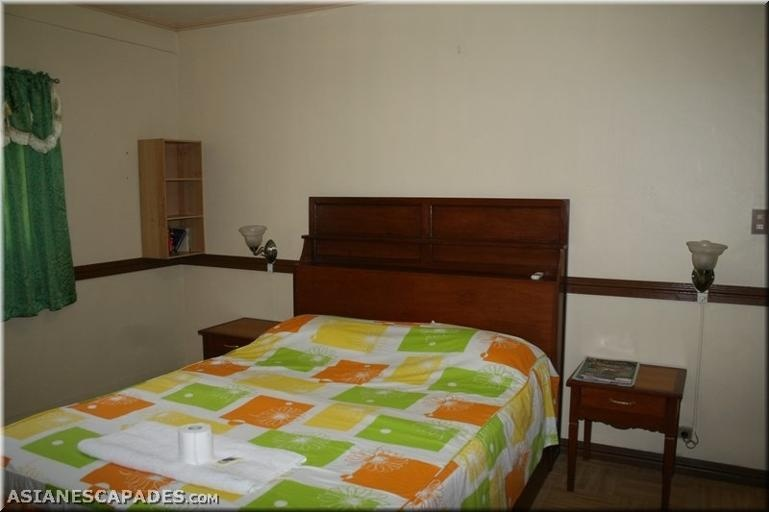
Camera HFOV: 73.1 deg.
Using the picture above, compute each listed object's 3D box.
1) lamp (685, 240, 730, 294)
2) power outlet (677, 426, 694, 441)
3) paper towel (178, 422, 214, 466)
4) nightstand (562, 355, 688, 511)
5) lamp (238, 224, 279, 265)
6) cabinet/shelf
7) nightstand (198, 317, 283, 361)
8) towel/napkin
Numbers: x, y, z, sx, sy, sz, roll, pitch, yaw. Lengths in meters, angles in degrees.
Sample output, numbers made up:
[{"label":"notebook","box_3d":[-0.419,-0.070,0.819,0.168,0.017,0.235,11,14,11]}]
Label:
[{"label":"lamp","box_3d":[2.053,0.082,3.358,0.215,0.352,0.148,4,14,15]},{"label":"power outlet","box_3d":[2.054,1.194,3.518,0.079,0.095,0.075,3,31,26]},{"label":"paper towel","box_3d":[-0.900,0.890,2.464,0.167,0.149,0.160,-2,3,-22]},{"label":"nightstand","box_3d":[1.494,1.196,3.669,0.890,1.011,0.791,2,4,25]},{"label":"lamp","box_3d":[-1.097,-0.055,4.398,0.228,0.331,0.298,-1,4,40]},{"label":"cabinet/shelf","box_3d":[-1.947,-0.540,4.752,0.307,0.968,0.457,6,11,22]},{"label":"nightstand","box_3d":[-1.200,0.620,4.264,0.490,0.453,0.369,5,8,29]},{"label":"towel/napkin","box_3d":[-0.933,0.943,2.444,0.745,0.099,0.443,7,3,21]}]
